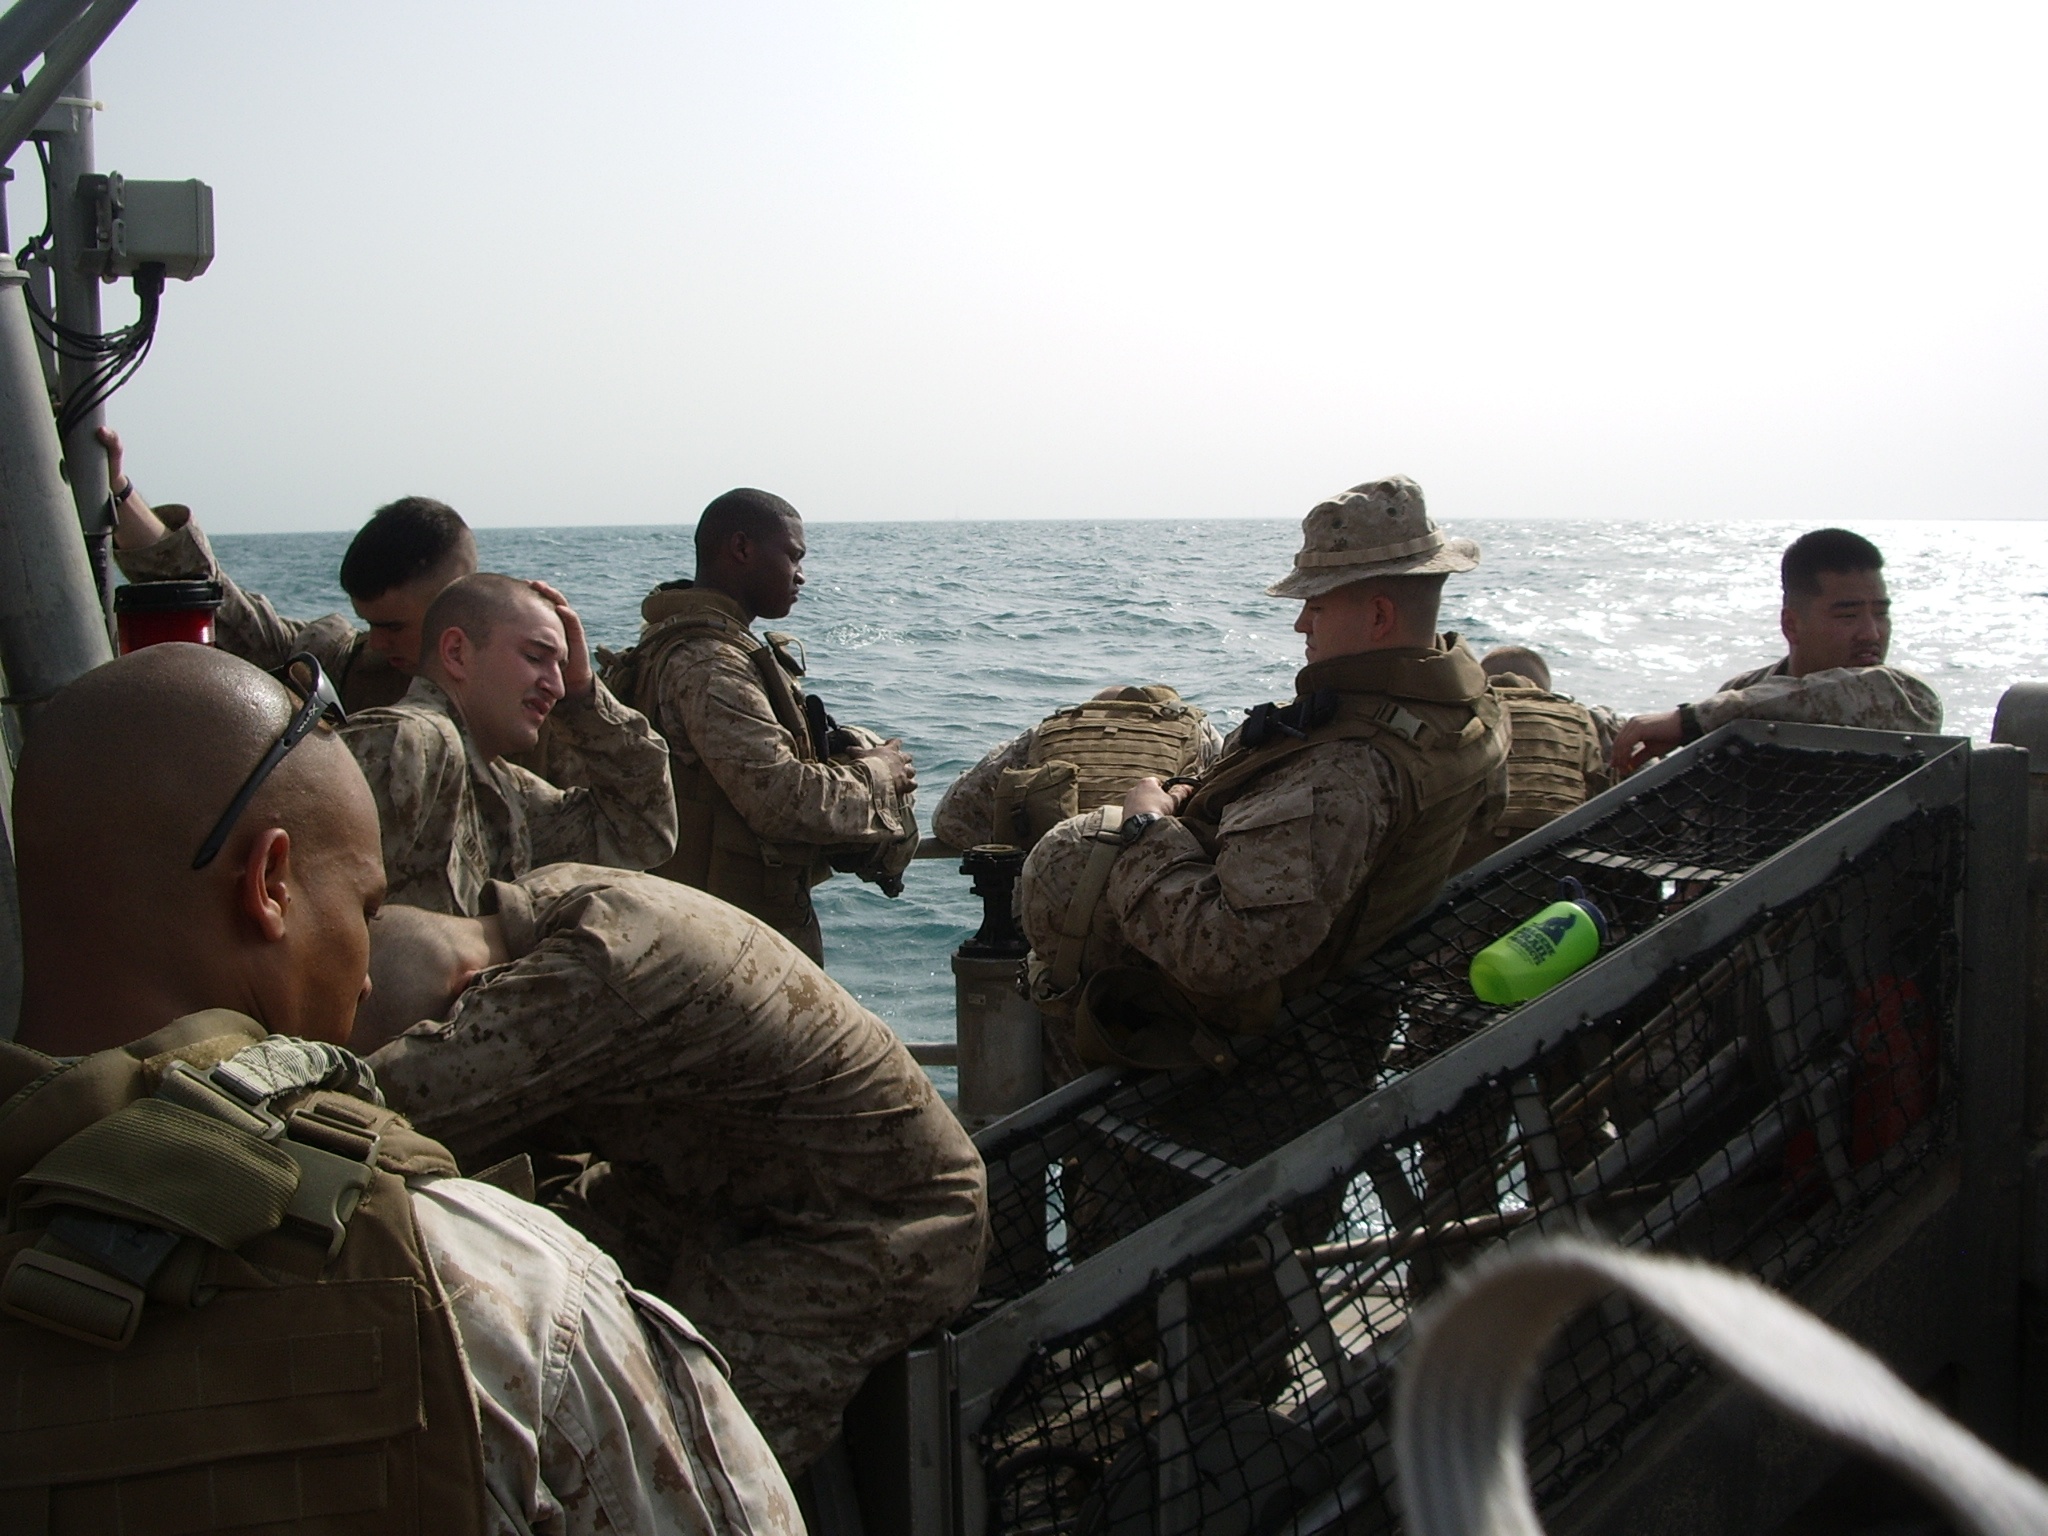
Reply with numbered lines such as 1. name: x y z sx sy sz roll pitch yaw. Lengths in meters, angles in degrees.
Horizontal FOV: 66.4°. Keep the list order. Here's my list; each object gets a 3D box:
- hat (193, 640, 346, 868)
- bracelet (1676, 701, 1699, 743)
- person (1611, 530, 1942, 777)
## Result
1. hat: -0.773 -0.051 1.616 0.110 0.194 0.365 -1 12 -20
2. bracelet: 2.064 -0.220 4.872 0.078 0.123 0.162 6 12 15
3. person: 2.483 -0.482 5.021 0.834 0.880 1.255 12 14 38
